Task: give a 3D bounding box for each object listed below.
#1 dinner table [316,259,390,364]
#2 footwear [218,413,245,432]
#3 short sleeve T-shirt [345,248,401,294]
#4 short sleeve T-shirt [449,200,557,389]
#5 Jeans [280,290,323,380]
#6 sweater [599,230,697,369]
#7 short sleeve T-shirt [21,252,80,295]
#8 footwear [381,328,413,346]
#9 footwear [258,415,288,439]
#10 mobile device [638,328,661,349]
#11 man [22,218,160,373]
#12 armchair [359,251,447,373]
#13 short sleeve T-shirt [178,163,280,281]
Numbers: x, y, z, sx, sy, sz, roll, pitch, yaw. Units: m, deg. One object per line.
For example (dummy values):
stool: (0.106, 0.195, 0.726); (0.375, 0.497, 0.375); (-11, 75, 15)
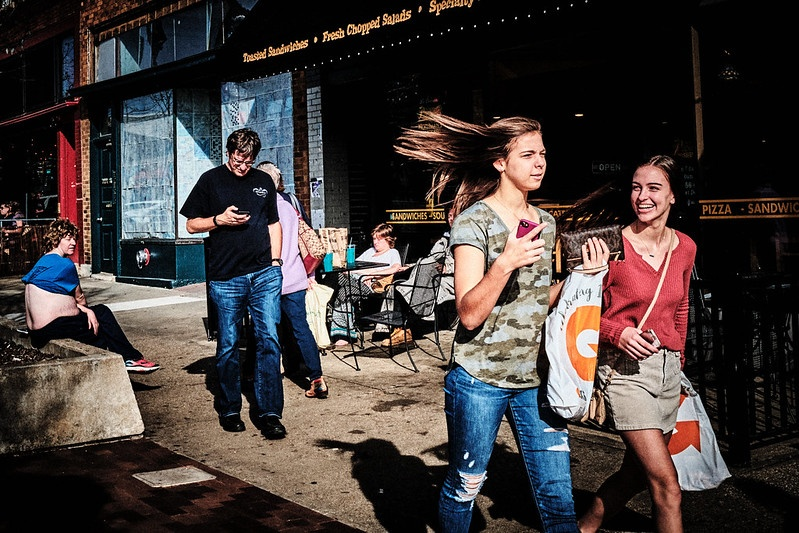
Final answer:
dinner table: (-0.938, 0.519, 8.851); (0.955, 1.034, 1.593); (-6, 4, -3)
footwear: (-1.618, 1.492, 5.783); (0.124, 0.116, 0.289); (1, -5, -43)
short sleeve T-shirt: (-0.437, 0.203, 9.303); (0.660, 0.209, 0.990); (8, 17, 23)
short sleeve T-shirt: (0.592, 0.151, 3.361); (0.635, 1.028, 0.322); (-2, 8, -7)
Jeans: (-1.095, 0.700, 6.693); (0.348, 1.150, 0.451); (-2, -21, -22)
sweater: (1.522, 0.152, 3.779); (0.709, 0.740, 0.427); (3, 7, -1)
short sleeve T-shirt: (-3.816, 0.041, 6.687); (0.661, 0.400, 0.410); (15, 13, 15)
footwear: (-0.005, 1.008, 8.705); (0.515, 0.208, 0.269); (2, -4, -31)
footwear: (-1.191, 1.478, 5.609); (0.270, 0.202, 0.174); (0, 8, 6)
mobile device: (1.475, 0.423, 3.535); (0.118, 0.034, 0.115); (37, 6, -19)
man: (-3.598, 0.389, 6.813); (0.527, 1.853, 1.004); (5, 10, 33)
armchair: (-0.017, 0.622, 8.211); (1.211, 1.396, 0.980); (-1, 4, 41)
short sleeve T-shirt: (-1.616, -0.538, 5.858); (1.019, 0.918, 0.532); (3, 5, -34)
